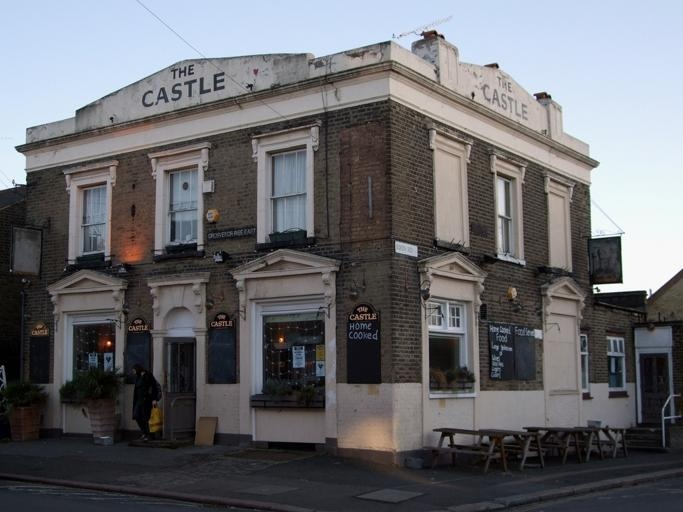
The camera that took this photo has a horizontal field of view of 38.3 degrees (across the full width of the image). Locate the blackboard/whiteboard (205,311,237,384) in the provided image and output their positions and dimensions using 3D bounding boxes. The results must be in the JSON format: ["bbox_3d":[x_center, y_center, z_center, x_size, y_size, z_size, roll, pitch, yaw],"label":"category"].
[{"bbox_3d":[-3.461,2.672,28.429,1.031,2.012,0.175,-7,-13,27],"label":"blackboard/whiteboard"}]

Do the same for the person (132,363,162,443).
[{"bbox_3d":[-5.695,4.271,28.642,0.749,2.143,0.741,2,-12,-13],"label":"person"}]

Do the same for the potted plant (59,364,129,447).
[{"bbox_3d":[-7.200,4.337,29.708,1.818,2.481,2.107,2,-12,-15],"label":"potted plant"}]

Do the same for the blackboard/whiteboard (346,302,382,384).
[{"bbox_3d":[0.607,2.348,26.371,1.000,2.099,0.193,-8,-14,30],"label":"blackboard/whiteboard"}]

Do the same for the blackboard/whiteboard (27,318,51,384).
[{"bbox_3d":[-9.717,3.112,31.663,0.905,2.005,0.230,-10,-15,37],"label":"blackboard/whiteboard"}]
